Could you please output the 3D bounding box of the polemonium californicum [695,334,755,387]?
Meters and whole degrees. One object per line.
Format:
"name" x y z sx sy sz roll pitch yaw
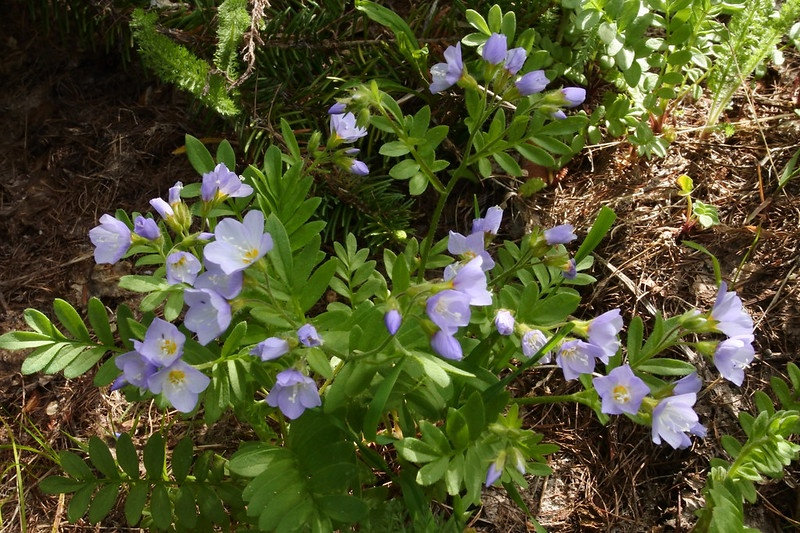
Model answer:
"polemonium californicum" 1.492 0.412 3.123 0.130 0.244 0.247 6 97 24

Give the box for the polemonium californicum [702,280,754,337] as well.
"polemonium californicum" 1.495 0.210 3.143 0.210 0.116 0.231 -40 108 -40
